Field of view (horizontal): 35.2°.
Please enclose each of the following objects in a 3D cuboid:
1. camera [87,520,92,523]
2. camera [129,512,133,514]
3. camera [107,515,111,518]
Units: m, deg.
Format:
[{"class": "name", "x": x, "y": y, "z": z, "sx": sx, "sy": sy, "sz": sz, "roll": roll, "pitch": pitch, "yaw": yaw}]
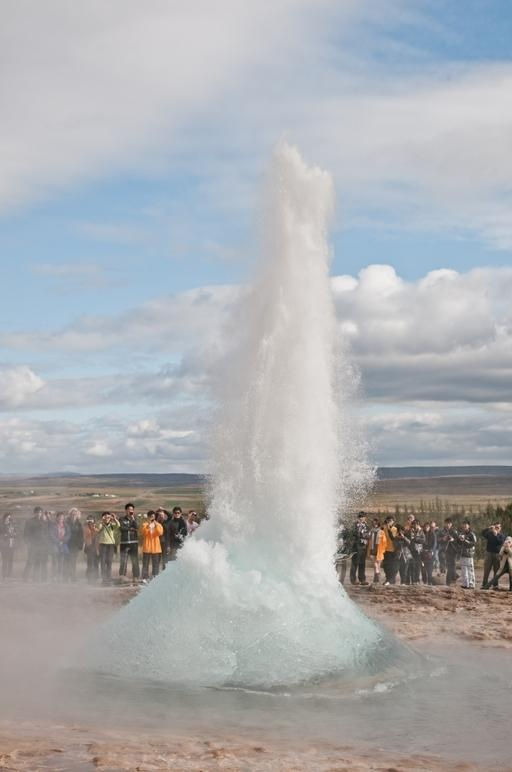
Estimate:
[{"class": "camera", "x": -4.185, "y": 3.379, "z": 20.257, "sx": 0.099, "sy": 0.089, "sz": 0.124, "roll": -3, "pitch": -9, "yaw": -7}, {"class": "camera", "x": -2.922, "y": 2.944, "z": 18.836, "sx": 0.081, "sy": 0.039, "sz": 0.111, "roll": -1, "pitch": -2, "yaw": -10}, {"class": "camera", "x": -3.428, "y": 3.016, "z": 18.830, "sx": 0.043, "sy": 0.075, "sz": 0.059, "roll": -11, "pitch": 10, "yaw": -41}]
